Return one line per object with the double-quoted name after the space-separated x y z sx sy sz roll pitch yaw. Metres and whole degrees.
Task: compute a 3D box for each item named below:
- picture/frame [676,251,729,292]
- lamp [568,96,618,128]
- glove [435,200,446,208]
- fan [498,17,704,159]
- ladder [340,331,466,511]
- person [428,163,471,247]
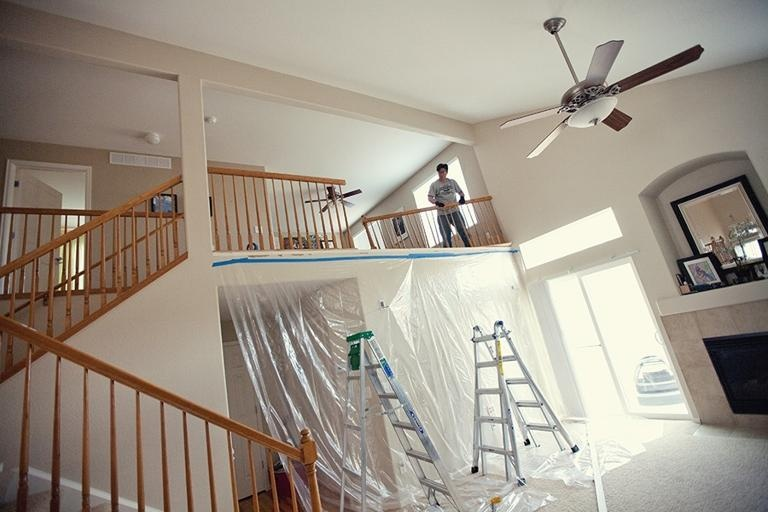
4.296 0.225 6.045 0.136 0.458 0.392 11 -28 -42 "picture/frame"
2.191 -1.512 4.753 0.371 0.182 0.400 -13 -3 25 "lamp"
0.940 -0.871 7.607 0.154 0.120 0.123 -8 -1 2 "glove"
2.184 -2.106 4.829 1.177 1.611 1.616 -8 -1 -19 "fan"
0.007 1.848 5.245 1.246 1.995 1.250 -8 -1 -8 "ladder"
1.085 -0.834 7.654 0.620 1.448 0.429 -8 -1 2 "person"
